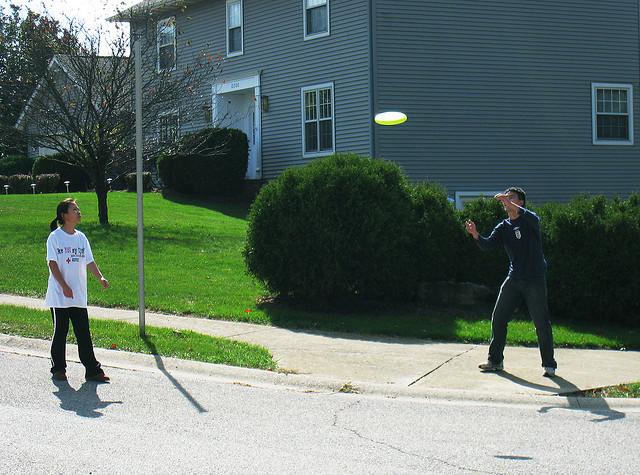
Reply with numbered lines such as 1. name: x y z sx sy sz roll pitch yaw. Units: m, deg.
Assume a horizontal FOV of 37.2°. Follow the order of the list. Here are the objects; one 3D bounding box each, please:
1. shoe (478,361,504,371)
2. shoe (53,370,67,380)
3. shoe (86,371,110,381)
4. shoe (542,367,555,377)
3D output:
1. shoe: 3.137 2.375 17.447 0.413 0.223 0.188 7 -6 -2
2. shoe: -4.552 2.458 16.861 0.186 0.185 0.121 -5 -3 7
3. shoe: -3.923 2.475 16.931 0.416 0.186 0.148 1 -3 1
4. shoe: 4.122 2.436 17.166 0.197 0.172 0.112 4 3 17
